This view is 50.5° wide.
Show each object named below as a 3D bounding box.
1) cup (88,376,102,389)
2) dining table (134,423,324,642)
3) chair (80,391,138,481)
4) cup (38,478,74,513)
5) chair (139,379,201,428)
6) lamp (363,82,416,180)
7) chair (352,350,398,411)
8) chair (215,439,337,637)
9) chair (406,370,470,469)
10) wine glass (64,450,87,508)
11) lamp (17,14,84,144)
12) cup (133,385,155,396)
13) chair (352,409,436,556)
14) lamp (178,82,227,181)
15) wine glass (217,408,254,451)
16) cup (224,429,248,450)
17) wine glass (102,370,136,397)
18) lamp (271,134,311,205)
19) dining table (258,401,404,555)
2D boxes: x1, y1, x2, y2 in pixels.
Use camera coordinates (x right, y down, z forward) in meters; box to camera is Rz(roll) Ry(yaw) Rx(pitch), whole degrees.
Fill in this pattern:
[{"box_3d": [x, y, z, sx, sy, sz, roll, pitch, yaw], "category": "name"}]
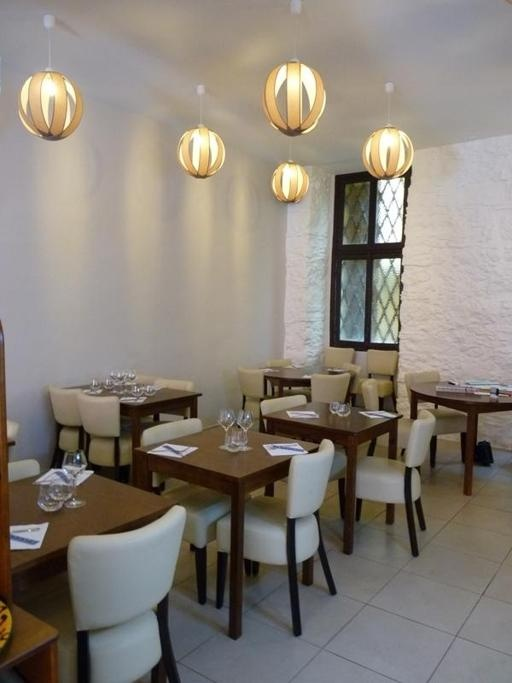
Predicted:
[{"box_3d": [-1.430, 0.379, 4.778, 0.101, 0.130, 0.107, 4, 11, -1], "category": "cup"}, {"box_3d": [-0.152, 0.929, 2.927, 0.697, 0.730, 0.761, 8, 8, 39], "category": "dining table"}, {"box_3d": [-1.154, 0.742, 4.341, 0.389, 0.740, 0.489, 5, 9, 19], "category": "chair"}, {"box_3d": [-0.762, 0.583, 2.055, 0.108, 0.110, 0.098, 10, -5, 1], "category": "cup"}, {"box_3d": [-0.794, 0.574, 5.349, 0.457, 0.632, 0.481, 0, -3, 33], "category": "chair"}, {"box_3d": [1.107, -1.770, 4.527, 0.344, 0.790, 0.374, 2, 2, 36], "category": "lamp"}, {"box_3d": [1.597, 0.552, 7.319, 0.516, 0.841, 0.553, 2, 5, 22], "category": "chair"}, {"box_3d": [0.135, 0.897, 3.031, 0.699, 1.223, 0.735, 2, 0, 23], "category": "chair"}, {"box_3d": [1.799, 0.756, 5.488, 0.434, 0.896, 0.543, -3, 2, -13], "category": "chair"}, {"box_3d": [-0.777, 0.582, 2.317, 0.088, 0.236, 0.094, 5, 6, 29], "category": "wine glass"}, {"box_3d": [-1.374, -1.576, 3.619, 0.380, 0.396, 0.266, 1, 4, -17], "category": "lamp"}, {"box_3d": [-0.979, 0.430, 4.684, 0.101, 0.057, 0.135, 0, 6, -9], "category": "cup"}, {"box_3d": [0.872, 0.902, 3.612, 0.467, 0.832, 0.454, 4, 6, 18], "category": "chair"}, {"box_3d": [-0.461, -1.617, 4.559, 0.382, 0.440, 0.248, 1, 4, -10], "category": "lamp"}, {"box_3d": [-0.127, 0.503, 2.995, 0.179, 0.273, 0.269, -1, 3, 8], "category": "wine glass"}, {"box_3d": [-0.104, 0.512, 2.878, 0.098, 0.077, 0.103, -2, 7, 0], "category": "cup"}, {"box_3d": [-1.238, 0.387, 4.877, 0.188, 0.079, 0.282, 2, 13, -3], "category": "wine glass"}, {"box_3d": [0.356, -1.874, 5.671, 0.441, 0.835, 0.468, 0, 7, 5], "category": "lamp"}, {"box_3d": [0.503, 0.780, 3.858, 0.793, 0.896, 0.893, 4, 6, 37], "category": "dining table"}]
